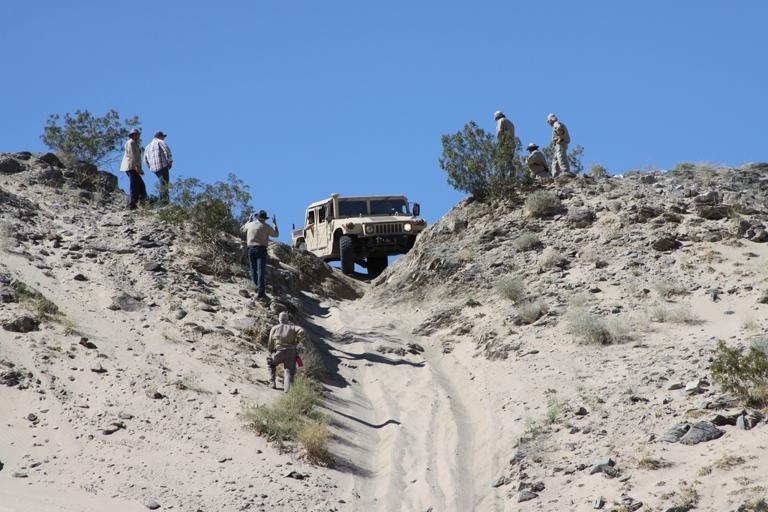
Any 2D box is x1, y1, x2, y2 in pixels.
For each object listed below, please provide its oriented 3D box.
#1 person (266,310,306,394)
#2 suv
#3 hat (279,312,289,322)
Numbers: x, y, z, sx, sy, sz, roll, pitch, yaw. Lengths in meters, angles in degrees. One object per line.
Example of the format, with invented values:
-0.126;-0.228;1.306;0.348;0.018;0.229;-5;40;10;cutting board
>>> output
-2.022;1.985;26.238;0.753;1.661;0.550;2;-15;7;person
-0.545;-0.560;36.793;2.505;2.399;4.797;10;-17;-20;suv
-2.059;1.259;26.339;0.179;0.194;0.192;9;-43;-27;hat
